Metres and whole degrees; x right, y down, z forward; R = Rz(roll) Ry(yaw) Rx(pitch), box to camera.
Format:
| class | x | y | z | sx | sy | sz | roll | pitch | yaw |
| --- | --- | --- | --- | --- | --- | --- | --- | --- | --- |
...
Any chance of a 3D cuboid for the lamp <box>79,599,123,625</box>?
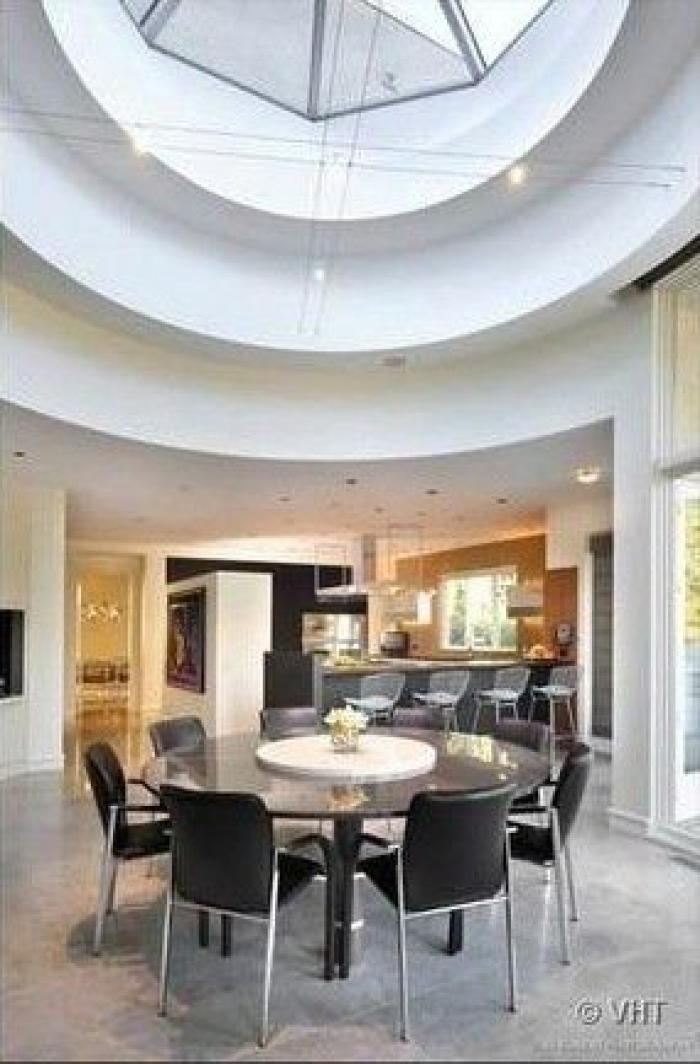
| class | x | y | z | sx | sy | sz | roll | pitch | yaw |
| --- | --- | --- | --- | --- | --- | --- | --- | --- | --- |
| lamp | -4.514 | 1.445 | 12.875 | 0.494 | 0.174 | 0.547 | 5 | 6 | 2 |

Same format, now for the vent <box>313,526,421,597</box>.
| class | x | y | z | sx | sy | sz | roll | pitch | yaw |
| --- | --- | --- | --- | --- | --- | --- | --- | --- | --- |
| vent | 0.191 | 0.487 | 9.228 | 1.600 | 0.674 | 0.418 | 0 | -9 | -35 |
